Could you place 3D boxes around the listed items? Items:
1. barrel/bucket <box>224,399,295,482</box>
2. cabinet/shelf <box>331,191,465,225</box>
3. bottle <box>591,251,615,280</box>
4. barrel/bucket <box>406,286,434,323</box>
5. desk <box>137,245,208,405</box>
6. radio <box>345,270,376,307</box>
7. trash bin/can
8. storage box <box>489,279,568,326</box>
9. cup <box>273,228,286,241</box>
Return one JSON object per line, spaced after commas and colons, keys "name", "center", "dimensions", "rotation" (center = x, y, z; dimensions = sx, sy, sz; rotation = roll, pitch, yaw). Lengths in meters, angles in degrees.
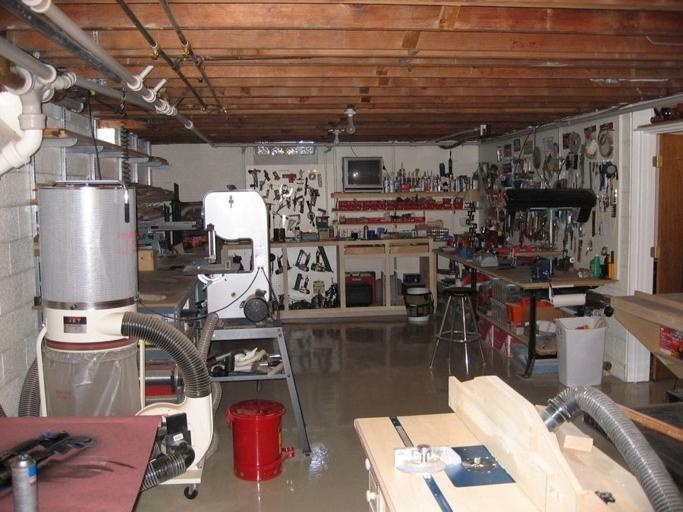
{"name": "barrel/bucket", "center": [-0.642, 1.442, 4.251], "dimensions": [0.554, 0.531, 0.379], "rotation": [0, 0, -16]}
{"name": "cabinet/shelf", "center": [0.978, -0.847, 9.499], "dimensions": [2.276, 0.587, 0.415], "rotation": [-2, 10, -6]}
{"name": "bottle", "center": [2.972, 0.100, 6.186], "dimensions": [0.321, 0.317, 0.257], "rotation": [-4, 9, -15]}
{"name": "barrel/bucket", "center": [1.210, 0.777, 8.359], "dimensions": [0.468, 0.415, 0.379], "rotation": [-2, -3, -9]}
{"name": "desk", "center": [-1.323, 0.535, 4.181], "dimensions": [0.386, 0.582, 1.154], "rotation": [-3, 20, -11]}
{"name": "radio", "center": [0.285, 0.504, 9.012], "dimensions": [0.555, 0.478, 0.522], "rotation": [-3, 13, 5]}
{"name": "trash bin/can", "center": [2.565, 1.015, 5.735], "dimensions": [0.525, 0.729, 0.260], "rotation": [-3, 11, -11]}
{"name": "storage box", "center": [2.284, 0.473, 6.679], "dimensions": [0.530, 0.446, 0.716], "rotation": [-3, 9, -10]}
{"name": "cup", "center": [-1.054, -0.357, 9.085], "dimensions": [0.219, 0.194, 0.112], "rotation": [4, 18, 11]}
